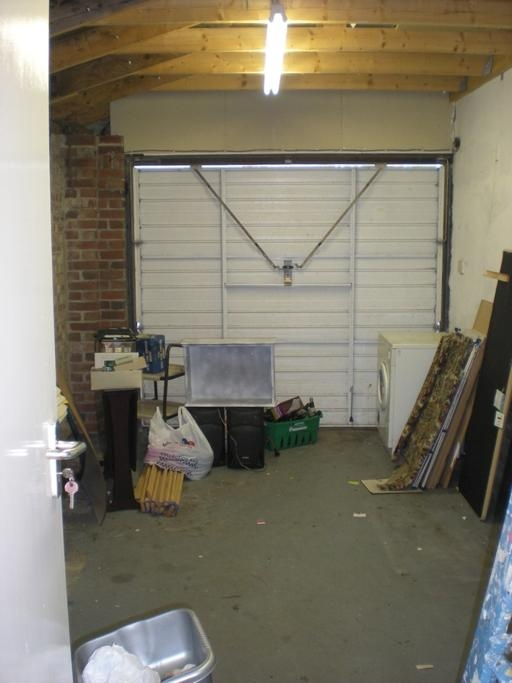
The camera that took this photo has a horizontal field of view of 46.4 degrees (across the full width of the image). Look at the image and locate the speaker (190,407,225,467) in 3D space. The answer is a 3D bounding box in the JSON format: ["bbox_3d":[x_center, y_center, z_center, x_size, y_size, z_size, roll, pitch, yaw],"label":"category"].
[{"bbox_3d":[-0.432,0.862,5.357,0.303,0.566,0.085,-4,8,-20],"label":"speaker"}]

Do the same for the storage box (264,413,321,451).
[{"bbox_3d":[0.359,0.867,5.869,0.467,0.225,0.340,-11,10,-21],"label":"storage box"}]

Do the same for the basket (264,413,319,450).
[{"bbox_3d":[0.364,0.879,5.875,0.462,0.224,0.333,-11,10,-18],"label":"basket"}]
